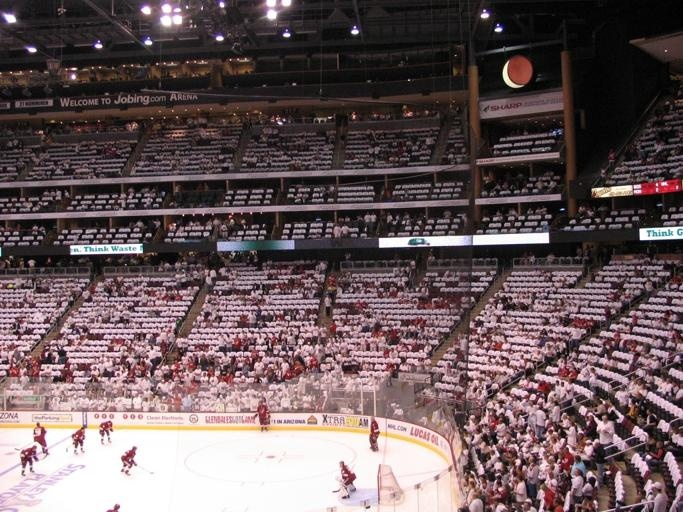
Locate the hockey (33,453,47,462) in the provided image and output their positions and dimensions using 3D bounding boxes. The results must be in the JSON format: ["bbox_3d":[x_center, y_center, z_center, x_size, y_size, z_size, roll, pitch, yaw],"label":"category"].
[{"bbox_3d":[-15.297,10.205,49.858,0.449,0.497,0.732,16,-25,-26],"label":"hockey"}]
